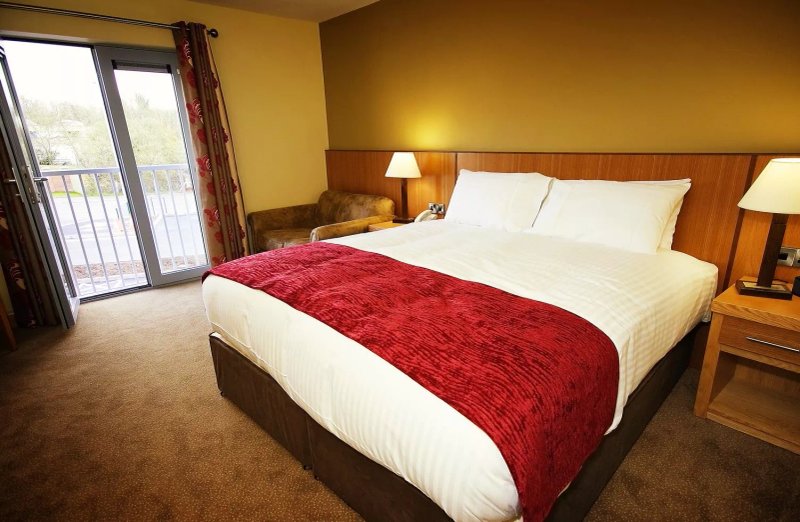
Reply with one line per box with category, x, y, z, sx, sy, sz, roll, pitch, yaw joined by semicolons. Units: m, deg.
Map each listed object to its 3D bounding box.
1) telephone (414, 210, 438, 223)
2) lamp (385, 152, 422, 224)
telephone;0.281;-0.457;4.621;0.195;0.067;0.161;-17;21;-31
lamp;0.048;-0.798;4.882;0.361;0.727;0.369;8;18;19
